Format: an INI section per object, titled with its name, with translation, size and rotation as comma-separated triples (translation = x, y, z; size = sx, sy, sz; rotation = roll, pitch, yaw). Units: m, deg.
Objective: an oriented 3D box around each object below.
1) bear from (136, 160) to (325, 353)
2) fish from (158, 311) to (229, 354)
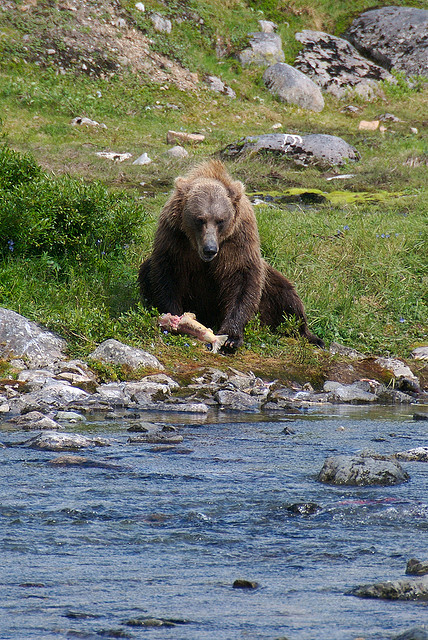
[bear]
translation = 0.212, -0.571, 9.970
size = 1.528, 1.853, 1.476
rotation = -1, 4, -17
[fish]
translation = -0.186, 0.073, 9.239
size = 0.711, 0.302, 0.246
rotation = 20, -25, 27
